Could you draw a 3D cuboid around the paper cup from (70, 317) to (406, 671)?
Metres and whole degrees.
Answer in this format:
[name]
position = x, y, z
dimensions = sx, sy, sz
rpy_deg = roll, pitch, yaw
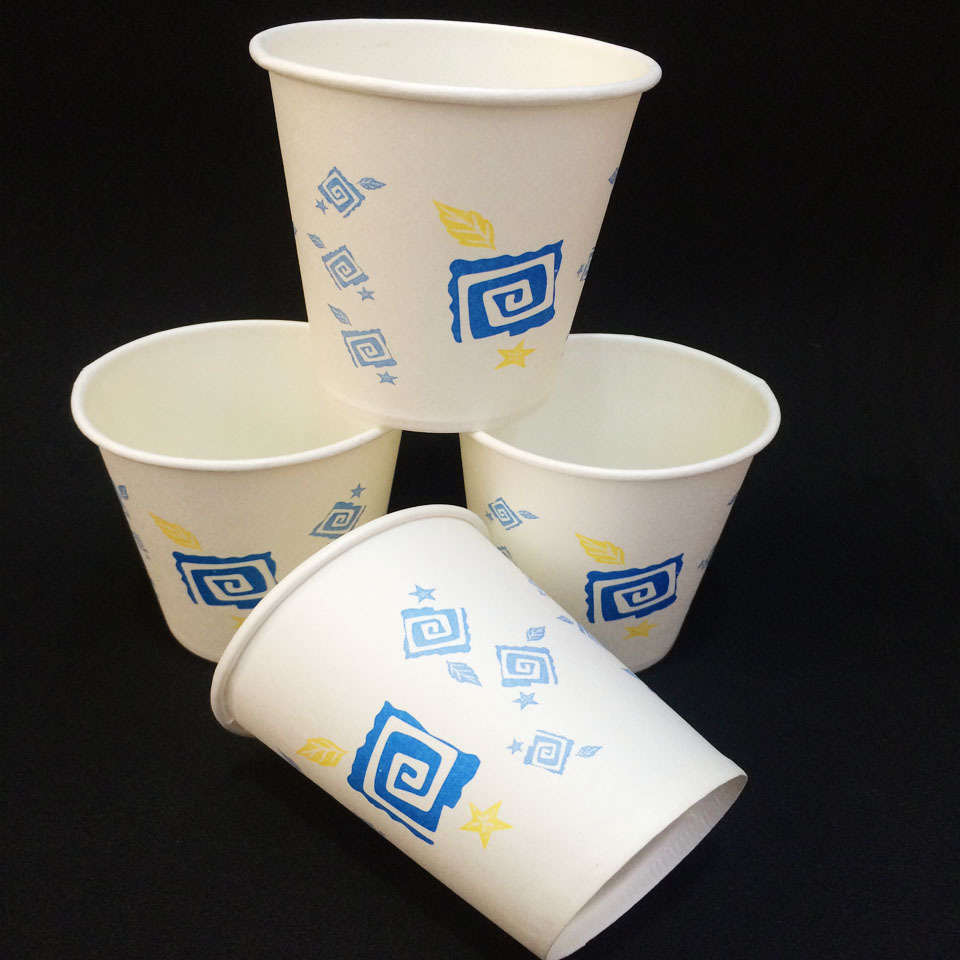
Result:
[paper cup]
position = -0.286, 0.036, 1.791
dimensions = 0.656, 0.398, 0.554
rpy_deg = 0, 33, -5
